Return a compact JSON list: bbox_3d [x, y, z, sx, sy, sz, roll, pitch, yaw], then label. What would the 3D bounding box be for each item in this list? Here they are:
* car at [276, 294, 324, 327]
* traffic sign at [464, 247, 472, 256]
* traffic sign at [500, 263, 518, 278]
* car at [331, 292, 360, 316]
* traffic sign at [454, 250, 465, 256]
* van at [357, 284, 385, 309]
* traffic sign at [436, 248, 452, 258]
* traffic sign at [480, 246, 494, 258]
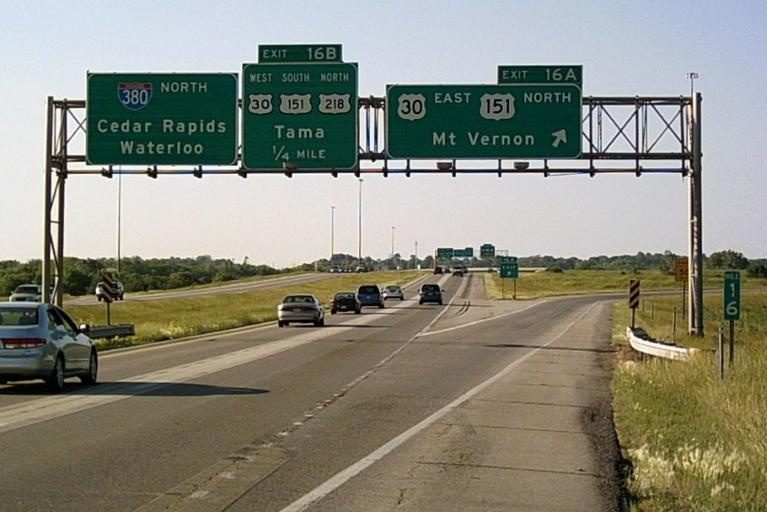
[{"bbox_3d":[-4.125,2.767,41.787,2.100,1.506,2.201,0,0,0],"label":"car"},{"bbox_3d":[18.931,-0.790,186.073,2.324,2.645,1.365,0,-7,7],"label":"traffic sign"},{"bbox_3d":[11.886,1.367,79.181,1.404,1.373,2.741,0,0,6],"label":"traffic sign"},{"bbox_3d":[-2.544,3.115,55.213,1.892,1.385,1.586,0,0,-4],"label":"car"},{"bbox_3d":[19.042,-0.569,209.962,2.695,1.333,0.716,0,0,40],"label":"traffic sign"},{"bbox_3d":[-1.015,3.156,62.862,1.273,1.314,2.907,-1,-5,4],"label":"van"},{"bbox_3d":[13.503,-0.613,187.101,2.306,1.712,0.350,1,6,5],"label":"traffic sign"},{"bbox_3d":[23.074,-0.963,186.631,2.678,2.984,1.475,0,-5,0],"label":"traffic sign"}]
